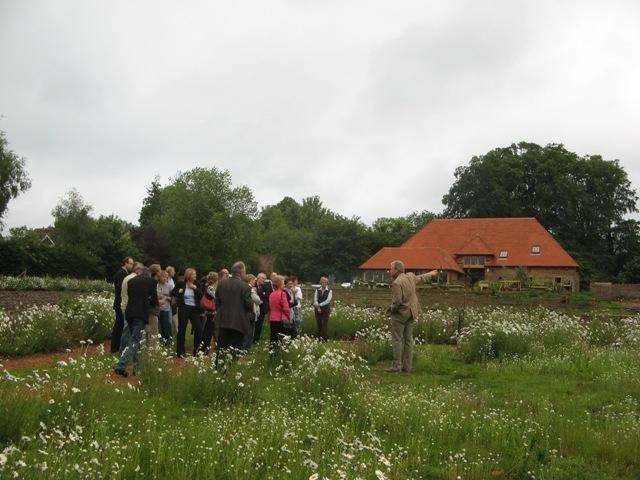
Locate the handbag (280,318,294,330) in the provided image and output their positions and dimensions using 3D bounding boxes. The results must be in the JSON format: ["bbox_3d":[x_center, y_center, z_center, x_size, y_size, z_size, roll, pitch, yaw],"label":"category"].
[{"bbox_3d":[-0.875,2.211,14.362,0.138,0.326,0.418,-2,-10,23],"label":"handbag"}]

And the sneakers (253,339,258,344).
[{"bbox_3d":[-2.025,3.191,17.311,0.096,0.137,0.124,-1,-12,6],"label":"sneakers"}]
